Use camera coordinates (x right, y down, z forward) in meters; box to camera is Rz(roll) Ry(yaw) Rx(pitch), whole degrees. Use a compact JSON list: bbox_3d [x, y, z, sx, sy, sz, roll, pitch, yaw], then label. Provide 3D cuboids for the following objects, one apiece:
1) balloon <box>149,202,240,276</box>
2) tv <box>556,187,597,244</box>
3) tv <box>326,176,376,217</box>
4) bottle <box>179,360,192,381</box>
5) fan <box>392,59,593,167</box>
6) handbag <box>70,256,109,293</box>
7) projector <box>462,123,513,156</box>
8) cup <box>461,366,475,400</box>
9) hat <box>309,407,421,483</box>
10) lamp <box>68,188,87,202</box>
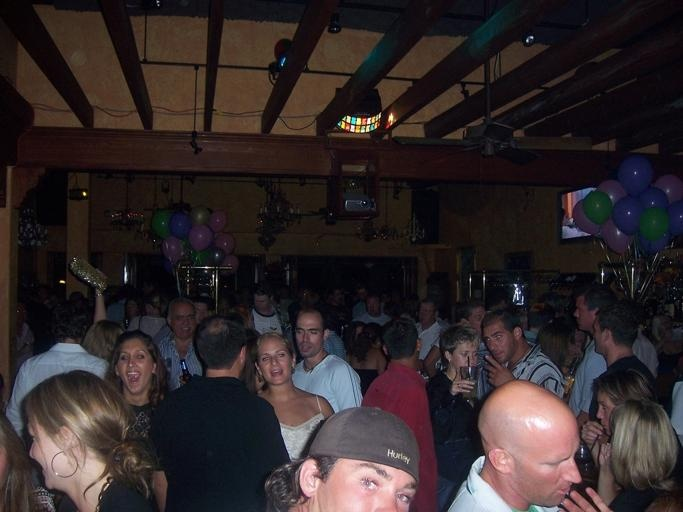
[{"bbox_3d":[-2.061,-0.219,9.016,0.772,0.885,1.284,-1,-4,22],"label":"balloon"},{"bbox_3d":[4.027,-0.723,10.597,0.798,0.913,0.027,-13,21,-24],"label":"tv"},{"bbox_3d":[0.193,-0.785,8.391,0.480,0.574,0.423,-1,-5,-3],"label":"tv"},{"bbox_3d":[-1.409,1.033,5.563,0.091,0.096,0.352,27,-28,-1],"label":"bottle"},{"bbox_3d":[1.696,-1.299,7.236,1.636,0.873,1.786,3,-10,0],"label":"fan"},{"bbox_3d":[-3.411,0.267,8.333,0.602,0.160,0.389,43,2,-17],"label":"handbag"},{"bbox_3d":[1.484,-1.200,6.385,0.372,0.193,0.376,-10,16,-33],"label":"projector"},{"bbox_3d":[0.967,0.971,4.736,0.126,0.254,0.168,-1,-3,12],"label":"cup"},{"bbox_3d":[0.135,0.992,3.285,0.472,0.293,0.514,18,-17,-32],"label":"hat"},{"bbox_3d":[-4.385,-0.997,10.299,0.245,0.224,0.375,-2,-5,37],"label":"lamp"}]
